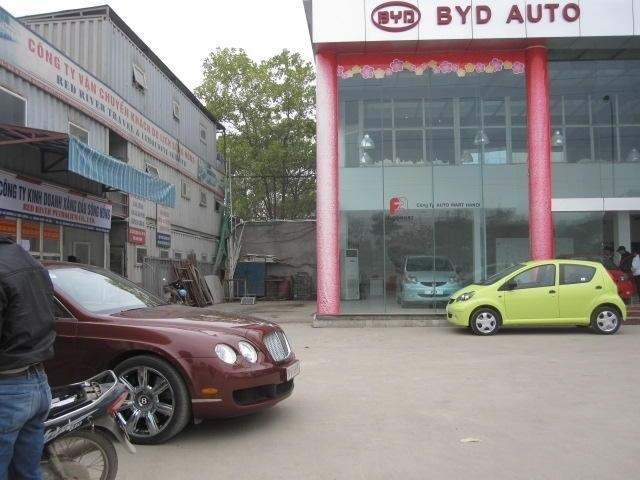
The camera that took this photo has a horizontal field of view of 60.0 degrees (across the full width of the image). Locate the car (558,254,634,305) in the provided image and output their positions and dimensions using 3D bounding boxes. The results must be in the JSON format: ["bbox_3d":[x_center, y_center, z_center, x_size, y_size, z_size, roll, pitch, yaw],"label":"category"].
[{"bbox_3d":[8.821,1.218,17.273,2.457,1.418,1.429,-5,-2,4],"label":"car"}]

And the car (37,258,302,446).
[{"bbox_3d":[-1.653,1.176,6.596,3.196,1.221,1.534,0,-3,4],"label":"car"}]

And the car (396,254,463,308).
[{"bbox_3d":[3.273,1.267,16.877,1.117,1.054,2.086,-1,-10,-1],"label":"car"}]

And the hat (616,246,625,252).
[{"bbox_3d":[10.167,0.295,18.626,0.153,0.224,0.203,2,-3,-21],"label":"hat"}]
